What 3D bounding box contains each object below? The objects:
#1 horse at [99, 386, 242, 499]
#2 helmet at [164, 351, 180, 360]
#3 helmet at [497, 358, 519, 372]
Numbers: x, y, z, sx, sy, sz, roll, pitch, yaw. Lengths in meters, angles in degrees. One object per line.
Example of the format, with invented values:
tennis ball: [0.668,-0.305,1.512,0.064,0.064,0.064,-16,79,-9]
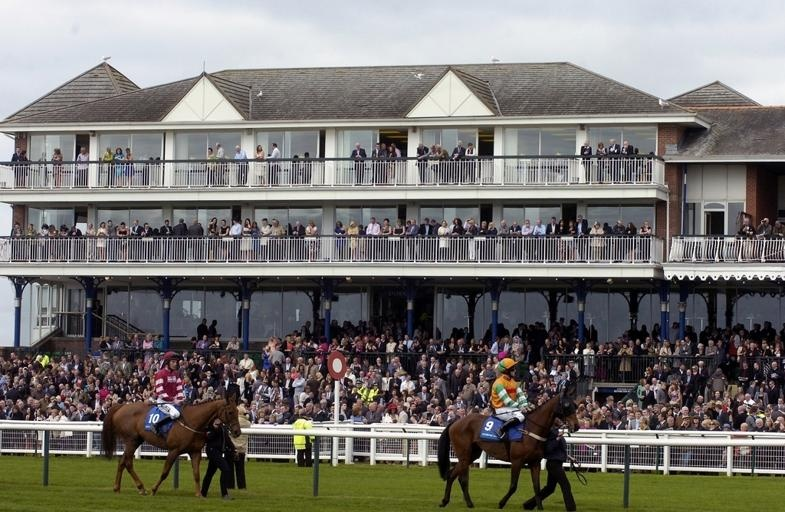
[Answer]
horse: [-6.020,5.167,57.516,4.255,2.876,1.070,0,-3,25]
helmet: [-7.742,3.483,73.445,0.526,0.196,0.533,-2,-6,4]
helmet: [2.970,2.912,56.281,0.421,0.199,0.317,-26,9,9]
